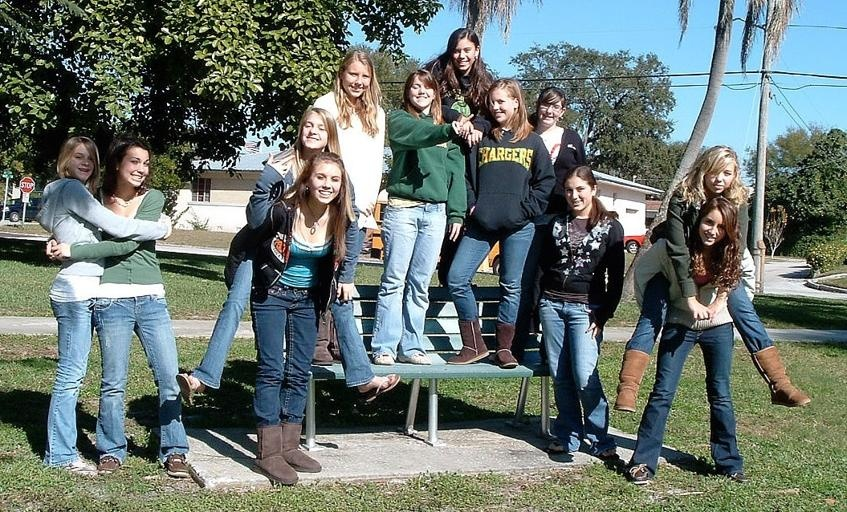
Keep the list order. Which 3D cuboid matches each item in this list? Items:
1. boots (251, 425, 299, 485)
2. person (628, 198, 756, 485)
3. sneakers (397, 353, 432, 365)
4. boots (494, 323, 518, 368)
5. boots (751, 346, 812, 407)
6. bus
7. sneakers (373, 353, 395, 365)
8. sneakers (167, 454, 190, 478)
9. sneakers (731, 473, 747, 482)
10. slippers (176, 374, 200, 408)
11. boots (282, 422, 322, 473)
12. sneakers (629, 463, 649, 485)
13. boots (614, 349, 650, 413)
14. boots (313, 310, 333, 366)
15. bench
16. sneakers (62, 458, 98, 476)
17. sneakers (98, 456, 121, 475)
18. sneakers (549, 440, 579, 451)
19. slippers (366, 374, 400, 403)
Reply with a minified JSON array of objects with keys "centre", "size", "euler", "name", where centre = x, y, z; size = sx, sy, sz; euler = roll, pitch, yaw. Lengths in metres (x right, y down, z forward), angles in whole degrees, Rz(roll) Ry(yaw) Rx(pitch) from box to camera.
[{"centre":[-1.285,1.772,5.823],"size":[0.267,0.429,0.655],"euler":[2,0,-43],"name":"boots"},{"centre":[2.607,0.799,6.189],"size":[1.062,2.717,0.356],"euler":[3,5,-4],"name":"person"},{"centre":[-0.086,1.065,6.783],"size":[0.320,0.113,0.130],"euler":[-1,0,10],"name":"sneakers"},{"centre":[0.895,0.959,6.889],"size":[0.219,0.432,0.581],"euler":[3,2,-4],"name":"boots"},{"centre":[3.414,1.182,6.270],"size":[0.486,0.618,0.551],"euler":[6,6,28],"name":"boots"},{"centre":[0.319,-0.994,28.839],"size":[5.933,2.876,3.091],"euler":[1,3,-5],"name":"bus"},{"centre":[-0.396,1.055,6.663],"size":[0.203,0.073,0.095],"euler":[-3,-2,26],"name":"sneakers"},{"centre":[-2.195,1.901,5.859],"size":[0.126,0.107,0.287],"euler":[3,-2,-32],"name":"sneakers"},{"centre":[2.993,2.117,6.198],"size":[0.066,0.047,0.123],"euler":[-2,-3,-34],"name":"sneakers"},{"centre":[-2.052,1.169,5.679],"size":[0.177,0.328,0.246],"euler":[1,6,-28],"name":"slippers"},{"centre":[-1.132,1.773,6.000],"size":[0.575,0.359,0.233],"euler":[1,-5,32],"name":"boots"},{"centre":[2.063,2.064,6.161],"size":[0.233,0.153,0.175],"euler":[4,5,9],"name":"sneakers"},{"centre":[1.969,1.189,6.220],"size":[0.260,0.509,0.719],"euler":[14,8,17],"name":"boots"},{"centre":[-1.011,0.873,6.848],"size":[0.215,0.480,0.410],"euler":[4,5,-3],"name":"boots"},{"centre":[0.076,1.313,7.529],"size":[2.804,1.394,1.056],"euler":[-4,-29,19],"name":"bench"},{"centre":[-3.005,1.873,5.750],"size":[0.245,0.097,0.193],"euler":[1,5,-28],"name":"sneakers"},{"centre":[-2.791,1.881,5.811],"size":[0.129,0.086,0.228],"euler":[2,-7,-24],"name":"sneakers"},{"centre":[1.442,1.966,6.670],"size":[0.215,0.063,0.141],"euler":[6,-3,-8],"name":"sneakers"},{"centre":[-0.388,1.267,6.318],"size":[0.237,0.237,0.355],"euler":[5,5,13],"name":"slippers"}]
